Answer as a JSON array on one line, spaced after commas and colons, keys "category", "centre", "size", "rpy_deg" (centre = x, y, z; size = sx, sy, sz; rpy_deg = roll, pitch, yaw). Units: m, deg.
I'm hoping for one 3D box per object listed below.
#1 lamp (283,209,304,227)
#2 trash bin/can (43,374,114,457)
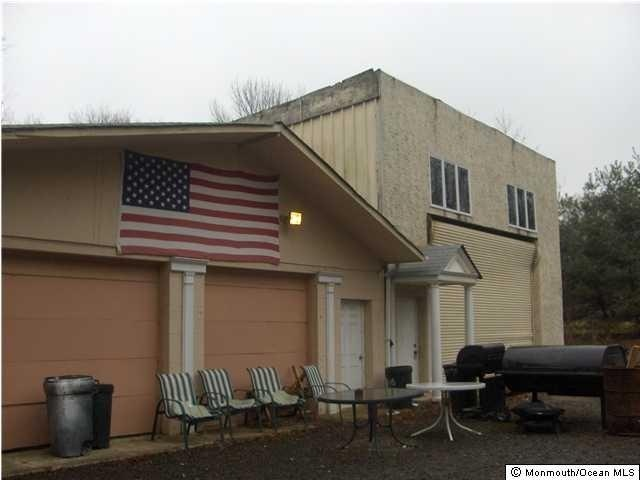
[{"category": "lamp", "centre": [-0.601, -0.507, 15.309], "size": [0.297, 0.156, 0.400], "rpy_deg": [14, -12, -36]}, {"category": "trash bin/can", "centre": [-4.204, 3.054, 11.976], "size": [0.456, 1.355, 1.117], "rpy_deg": [-10, -13, 43]}]
